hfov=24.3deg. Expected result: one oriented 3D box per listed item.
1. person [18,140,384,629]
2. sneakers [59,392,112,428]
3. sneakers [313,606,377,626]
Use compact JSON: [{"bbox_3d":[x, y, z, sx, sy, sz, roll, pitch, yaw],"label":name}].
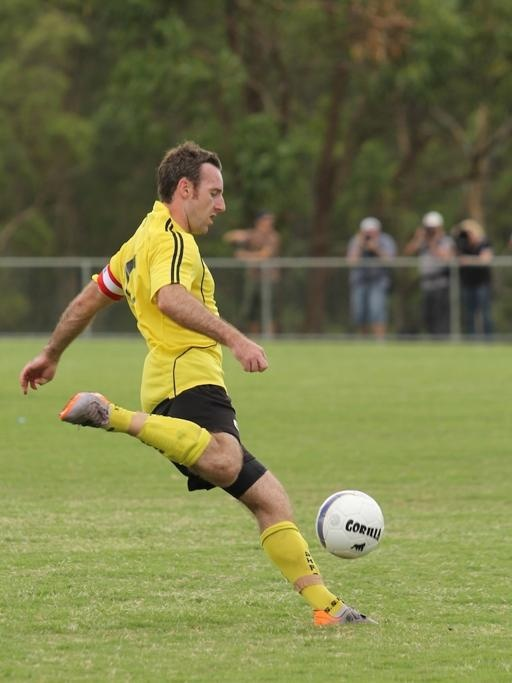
[{"bbox_3d":[-0.325,0.125,4.518,1.402,1.802,0.649,3,4,35],"label":"person"},{"bbox_3d":[-0.618,0.258,4.355,0.172,0.100,0.123,-5,-17,-10],"label":"sneakers"},{"bbox_3d":[0.334,0.991,4.382,0.212,0.075,0.081,0,3,-11],"label":"sneakers"}]
